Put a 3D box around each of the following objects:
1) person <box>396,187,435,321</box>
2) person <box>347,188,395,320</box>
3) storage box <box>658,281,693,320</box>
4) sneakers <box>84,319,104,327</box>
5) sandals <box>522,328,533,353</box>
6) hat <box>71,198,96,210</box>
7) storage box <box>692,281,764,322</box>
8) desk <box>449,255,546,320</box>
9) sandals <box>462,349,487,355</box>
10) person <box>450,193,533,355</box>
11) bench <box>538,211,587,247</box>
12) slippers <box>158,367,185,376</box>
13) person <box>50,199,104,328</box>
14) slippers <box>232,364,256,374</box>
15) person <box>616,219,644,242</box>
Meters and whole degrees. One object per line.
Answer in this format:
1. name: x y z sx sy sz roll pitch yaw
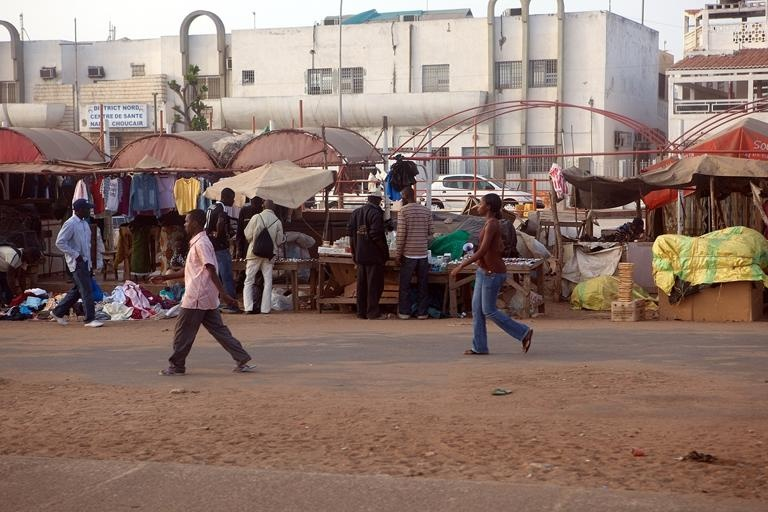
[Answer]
1. person: 0.525 -0.045 19.287 0.694 2.420 0.504 -1 4 -15
2. person: -0.285 -0.018 19.362 0.738 2.351 0.429 2 4 31
3. storage box: 5.247 0.828 19.250 0.711 0.637 0.500 -1 -1 10
4. sneakers: -5.225 1.219 18.980 0.325 0.121 0.115 -3 -3 11
5. sandals: 2.180 1.299 16.015 0.175 0.396 0.136 5 17 -1
6. hat: -5.349 -0.933 18.923 0.461 0.222 0.313 5 0 -28
7. storage box: 6.096 0.847 18.818 0.870 0.509 0.852 -1 1 15
8. desk: 2.110 0.529 19.506 1.406 0.802 1.362 0 0 8
9. sandals: 1.353 1.469 15.960 0.324 0.119 0.113 -1 -1 5
10. person: 1.616 0.269 16.009 1.089 2.444 0.719 0 3 7
11. bench: 4.119 -0.739 24.604 1.400 1.011 0.976 -1 -1 -8
12. slippers: -3.009 1.628 14.853 0.325 0.130 0.135 3 1 3
13. person: -5.511 0.122 18.960 0.829 2.285 1.191 -1 3 -15
14. slippers: -1.997 1.615 15.090 0.343 0.138 0.113 -9 9 -3
15. person: 5.681 -0.632 24.412 0.555 0.508 1.324 1 3 19
